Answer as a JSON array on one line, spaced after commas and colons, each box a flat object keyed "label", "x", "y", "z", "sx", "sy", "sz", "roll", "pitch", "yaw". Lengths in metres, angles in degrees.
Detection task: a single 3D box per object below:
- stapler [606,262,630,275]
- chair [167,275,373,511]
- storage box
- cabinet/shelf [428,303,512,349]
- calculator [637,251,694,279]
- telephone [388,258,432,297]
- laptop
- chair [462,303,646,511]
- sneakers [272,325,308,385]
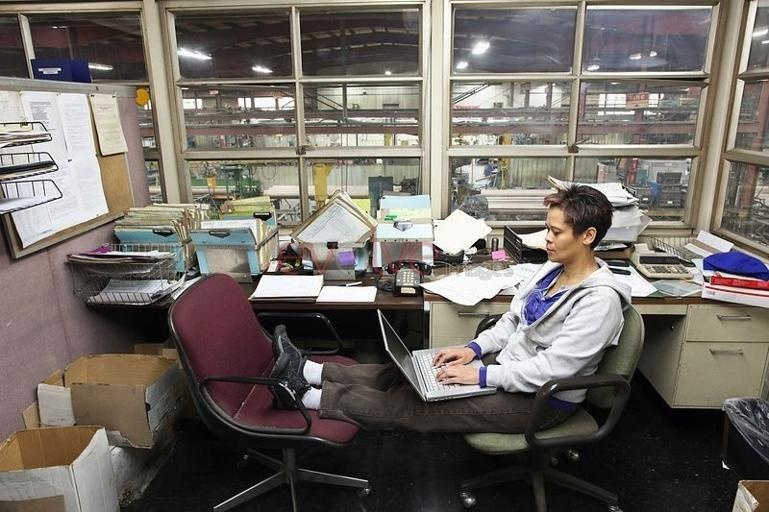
[{"label": "stapler", "x": 1.455, "y": 0.073, "z": 3.369, "sx": 0.124, "sy": 0.026, "sz": 0.108, "roll": 4, "pitch": 17, "yaw": 11}, {"label": "chair", "x": -0.643, "y": 0.657, "z": 3.281, "sx": 1.285, "sy": 1.368, "sz": 1.202, "roll": 2, "pitch": 8, "yaw": 5}, {"label": "storage box", "x": -1.531, "y": 0.942, "z": 3.005, "sx": 0.807, "sy": 0.460, "sz": 0.762, "roll": 0, "pitch": 8, "yaw": 3}, {"label": "cabinet/shelf", "x": 0.502, "y": 0.373, "z": 3.280, "sx": 0.497, "sy": 0.408, "sz": 0.268, "roll": 0, "pitch": 6, "yaw": -1}, {"label": "calculator", "x": 1.709, "y": 0.054, "z": 3.354, "sx": 0.305, "sy": 0.110, "sz": 0.290, "roll": 3, "pitch": 16, "yaw": 17}, {"label": "telephone", "x": 0.147, "y": 0.137, "z": 3.268, "sx": 0.195, "sy": 0.095, "sz": 0.288, "roll": 1, "pitch": 23, "yaw": 8}, {"label": "laptop", "x": 0.274, "y": 0.540, "z": 2.744, "sx": 0.498, "sy": 0.270, "sz": 0.481, "roll": -9, "pitch": 22, "yaw": -8}, {"label": "chair", "x": 0.903, "y": 0.838, "z": 3.173, "sx": 1.178, "sy": 1.230, "sz": 1.077, "roll": 0, "pitch": 3, "yaw": 0}, {"label": "sneakers", "x": -0.467, "y": 0.514, "z": 2.692, "sx": 0.171, "sy": 0.352, "sz": 0.127, "roll": -1, "pitch": -12, "yaw": 1}]
